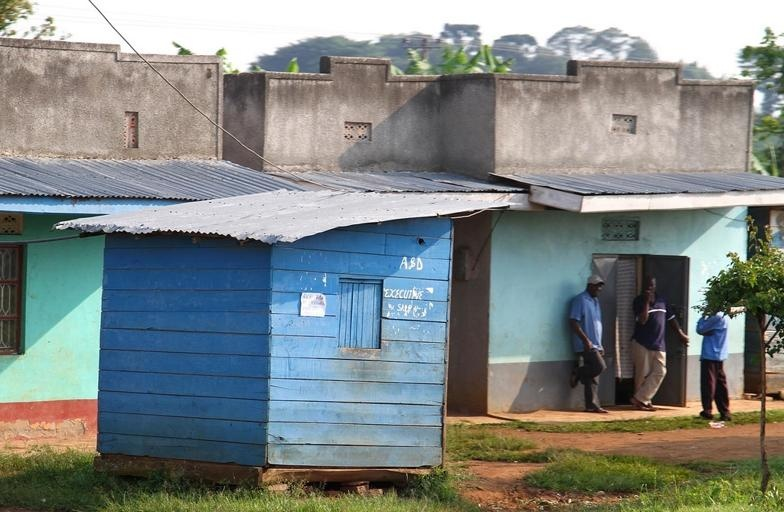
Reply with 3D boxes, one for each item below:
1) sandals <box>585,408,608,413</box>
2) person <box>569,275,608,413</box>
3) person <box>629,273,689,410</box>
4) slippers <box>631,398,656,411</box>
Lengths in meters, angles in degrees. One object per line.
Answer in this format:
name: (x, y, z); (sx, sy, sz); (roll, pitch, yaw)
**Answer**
sandals: (3.806, 2.870, 29.806); (0.410, 0.122, 0.123); (-2, -2, 10)
person: (3.635, 1.628, 29.736); (0.687, 2.480, 0.728); (1, 15, -3)
person: (4.972, 1.665, 30.185); (0.841, 2.470, 0.749); (0, 15, -4)
slippers: (4.743, 2.810, 30.267); (0.553, 0.174, 0.168); (0, -1, 15)
